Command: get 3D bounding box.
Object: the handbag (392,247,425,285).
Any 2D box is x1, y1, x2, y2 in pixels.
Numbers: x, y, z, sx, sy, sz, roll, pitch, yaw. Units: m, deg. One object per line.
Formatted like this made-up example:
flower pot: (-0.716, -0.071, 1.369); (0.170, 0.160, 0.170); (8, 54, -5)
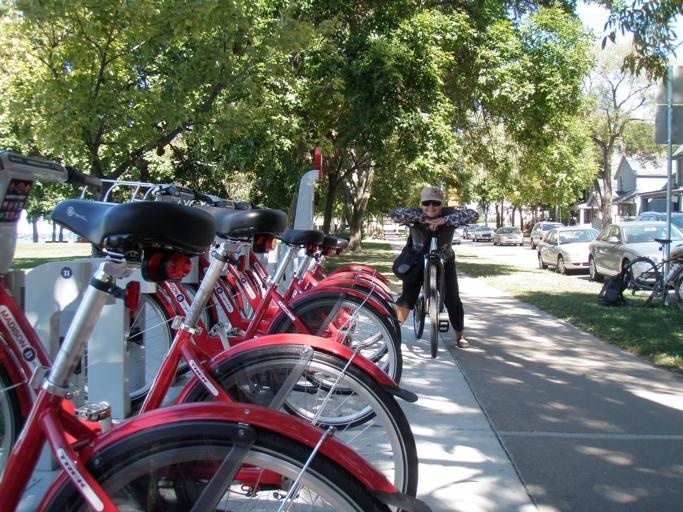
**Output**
handbag: (0.791, 0.110, 6.741); (0.175, 0.421, 0.331); (22, 16, -38)
